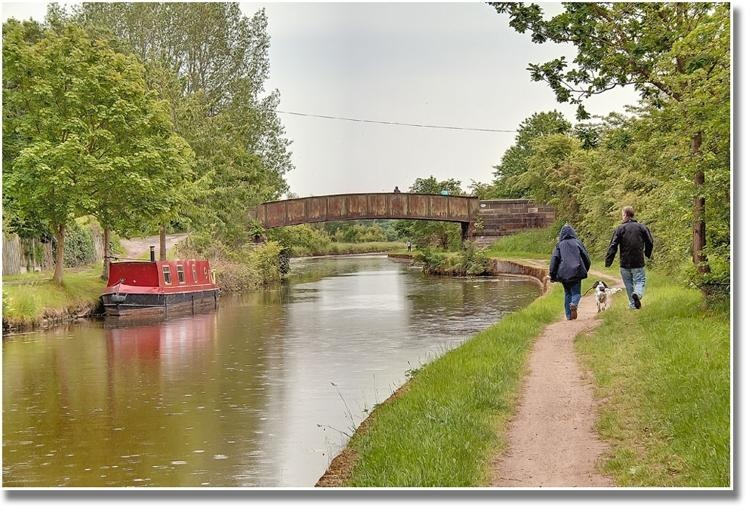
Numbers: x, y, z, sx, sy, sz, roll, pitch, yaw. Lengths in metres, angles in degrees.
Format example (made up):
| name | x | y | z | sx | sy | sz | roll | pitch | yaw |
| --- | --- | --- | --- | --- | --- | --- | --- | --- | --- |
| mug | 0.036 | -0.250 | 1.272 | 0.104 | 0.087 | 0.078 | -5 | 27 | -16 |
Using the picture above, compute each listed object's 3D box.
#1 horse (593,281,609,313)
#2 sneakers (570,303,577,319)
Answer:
| name | x | y | z | sx | sy | sz | roll | pitch | yaw |
| --- | --- | --- | --- | --- | --- | --- | --- | --- | --- |
| horse | 7.014 | 1.294 | 21.809 | 0.312 | 0.919 | 0.497 | -3 | 0 | 12 |
| sneakers | 5.582 | 1.559 | 19.689 | 0.156 | 0.417 | 0.170 | -6 | 7 | 3 |
